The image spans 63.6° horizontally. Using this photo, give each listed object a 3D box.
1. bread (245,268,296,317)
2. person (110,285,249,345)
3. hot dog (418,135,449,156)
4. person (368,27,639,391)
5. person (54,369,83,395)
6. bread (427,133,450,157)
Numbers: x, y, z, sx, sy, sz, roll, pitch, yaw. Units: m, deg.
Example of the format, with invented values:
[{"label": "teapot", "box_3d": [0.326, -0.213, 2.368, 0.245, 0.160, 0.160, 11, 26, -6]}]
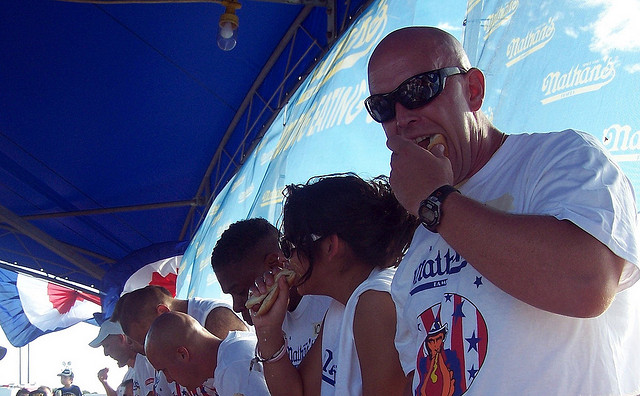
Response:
[{"label": "bread", "box_3d": [-0.248, 0.527, 2.846, 0.075, 0.185, 0.311, 29, -74, -39]}, {"label": "person", "box_3d": [-1.219, 0.935, 4.287, 0.583, 0.308, 0.795, -13, -10, -3]}, {"label": "hot dog", "box_3d": [0.496, -0.237, 2.228, 0.060, 0.082, 0.115, -44, 6, 28]}, {"label": "person", "box_3d": [0.727, -0.002, 2.202, 0.971, 1.657, 0.559, -10, -21, 6]}, {"label": "person", "box_3d": [-6.647, 4.887, 13.654, 0.484, 0.755, 0.746, 9, -28, -36]}, {"label": "bread", "box_3d": [0.518, -0.234, 2.221, 0.070, 0.110, 0.038, 3, -2, 7]}]
